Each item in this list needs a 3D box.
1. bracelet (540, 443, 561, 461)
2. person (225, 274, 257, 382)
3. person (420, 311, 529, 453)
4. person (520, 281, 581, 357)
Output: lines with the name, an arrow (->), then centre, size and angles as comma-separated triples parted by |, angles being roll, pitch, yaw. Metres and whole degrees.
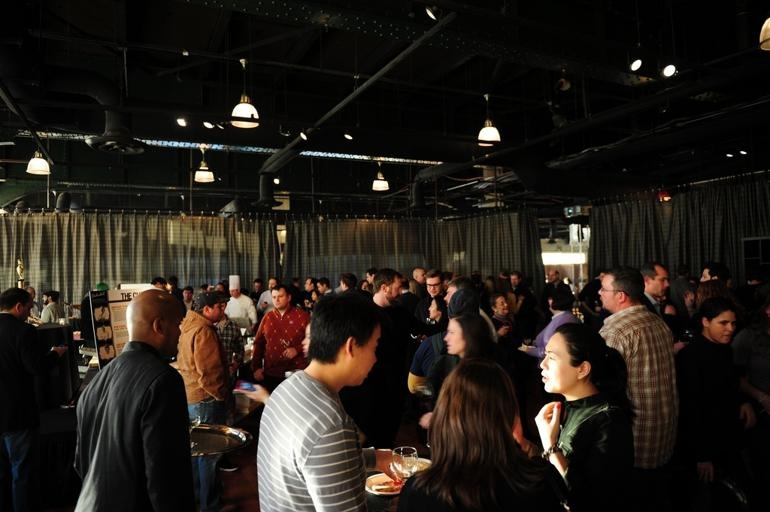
bracelet -> 1.288, 1.529, 4.882 | 0.141, 0.056, 0.164 | -22, -3, 9
person -> -2.309, 1.061, 10.223 | 0.401, 1.461, 0.452 | 6, 2, -19
person -> 0.871, 1.129, 6.015 | 0.845, 1.295, 0.938 | 5, -2, 15
person -> 1.861, 0.741, 7.203 | 0.666, 0.983, 0.642 | 3, 1, 12
